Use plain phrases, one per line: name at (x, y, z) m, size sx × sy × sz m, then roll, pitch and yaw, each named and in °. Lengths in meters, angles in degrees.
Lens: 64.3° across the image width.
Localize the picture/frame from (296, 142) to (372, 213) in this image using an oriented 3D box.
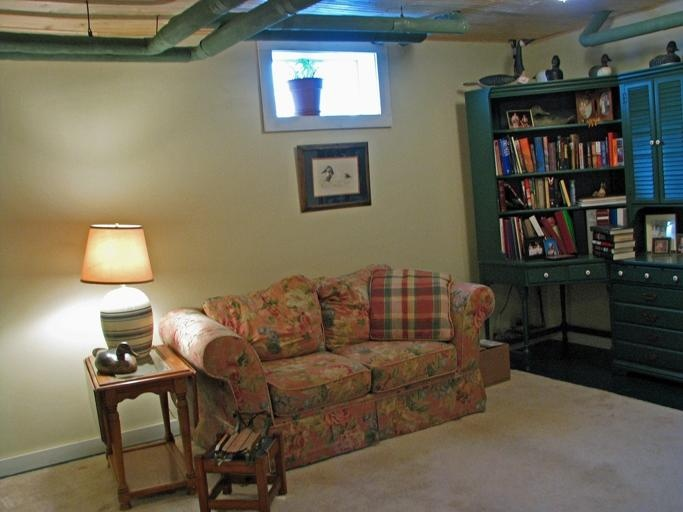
picture/frame at (-0.102, -0.654, 4.518) m, size 0.587 × 0.492 × 0.050 m, roll -6°, pitch 1°, yaw -25°

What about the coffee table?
coffee table at (-1.213, 1.006, 3.586) m, size 0.712 × 0.945 × 0.965 m, roll -6°, pitch 10°, yaw -28°

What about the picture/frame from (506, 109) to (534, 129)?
picture/frame at (1.606, -1.217, 4.874) m, size 0.251 × 0.202 × 0.025 m, roll -1°, pitch -20°, yaw -9°

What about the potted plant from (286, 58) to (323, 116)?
potted plant at (-0.296, -1.369, 4.426) m, size 0.323 × 0.468 × 0.210 m, roll -10°, pitch 13°, yaw -22°

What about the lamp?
lamp at (-1.457, 0.220, 3.557) m, size 0.462 × 0.843 × 0.366 m, roll 4°, pitch 15°, yaw 34°

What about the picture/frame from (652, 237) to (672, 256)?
picture/frame at (2.710, -0.071, 4.582) m, size 0.142 × 0.138 × 0.077 m, roll -3°, pitch -11°, yaw 32°

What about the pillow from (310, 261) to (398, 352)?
pillow at (0.111, 0.377, 3.952) m, size 0.507 × 0.492 × 0.149 m, roll -10°, pitch -3°, yaw -29°

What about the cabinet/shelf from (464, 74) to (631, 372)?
cabinet/shelf at (1.938, -0.289, 4.704) m, size 1.239 × 2.307 × 0.669 m, roll -5°, pitch 3°, yaw 18°
